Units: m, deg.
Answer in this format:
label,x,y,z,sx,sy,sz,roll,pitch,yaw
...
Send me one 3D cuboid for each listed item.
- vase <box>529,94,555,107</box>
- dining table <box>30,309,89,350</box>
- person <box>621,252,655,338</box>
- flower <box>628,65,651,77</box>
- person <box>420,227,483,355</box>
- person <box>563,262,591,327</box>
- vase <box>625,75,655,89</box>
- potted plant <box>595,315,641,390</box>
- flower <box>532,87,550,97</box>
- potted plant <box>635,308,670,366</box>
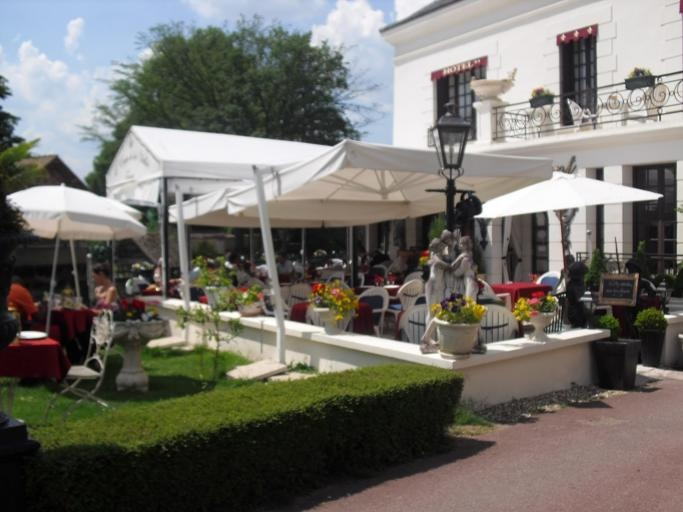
label,x,y,z,sx,sy,sz,roll,pitch,yaw
vase,4.368,-3.363,15.171,0.369,0.152,0.276,-4,2,-16
dining table,-3.855,0.962,9.834,0.499,0.363,0.660,3,-2,-44
person,4.618,0.684,10.995,0.555,1.368,0.430,4,38,20
flower,6.007,-3.664,13.941,0.415,0.205,0.924,6,15,22
person,1.262,0.381,8.102,0.653,1.317,0.705,1,13,6
person,3.387,0.533,9.992,0.289,0.909,0.274,2,4,9
vase,5.859,-3.390,13.667,0.241,0.150,0.379,0,-4,-32
potted plant,3.620,1.325,9.189,0.571,0.729,0.648,6,15,24
flower,4.406,-3.597,15.400,0.263,0.206,0.284,2,0,4
potted plant,4.583,1.130,10.249,0.362,0.685,0.357,-14,8,-38
